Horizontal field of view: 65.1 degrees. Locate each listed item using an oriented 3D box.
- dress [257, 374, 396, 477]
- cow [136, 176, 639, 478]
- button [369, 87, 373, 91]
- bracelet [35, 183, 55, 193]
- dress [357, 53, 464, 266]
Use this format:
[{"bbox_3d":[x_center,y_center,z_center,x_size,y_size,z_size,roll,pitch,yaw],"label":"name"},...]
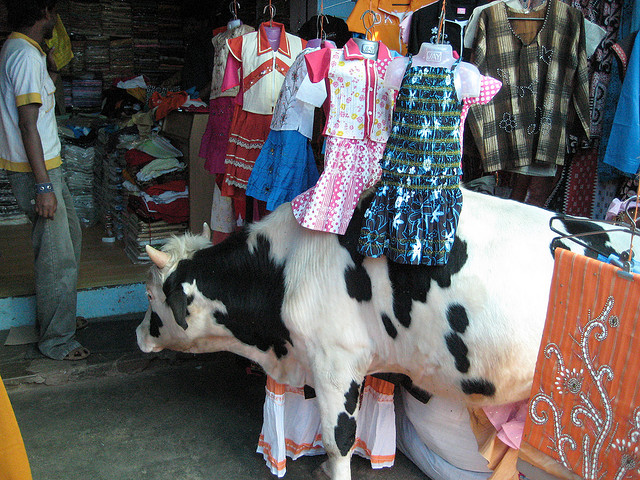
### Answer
[{"bbox_3d":[0.050,1.004,2.708,0.543,0.589,0.221,2,32,2],"label":"dress"},{"bbox_3d":[-0.125,0.003,3.117,2.976,2.003,1.091,5,14,13],"label":"cow"},{"bbox_3d":[0.235,-0.698,2.306,0.012,0.015,0.003,-19,6,-6],"label":"button"},{"bbox_3d":[-1.861,-0.356,3.366,0.065,0.052,0.074,2,7,-9],"label":"bracelet"},{"bbox_3d":[0.442,-0.401,2.164,0.393,1.086,0.314,1,37,5],"label":"dress"}]
